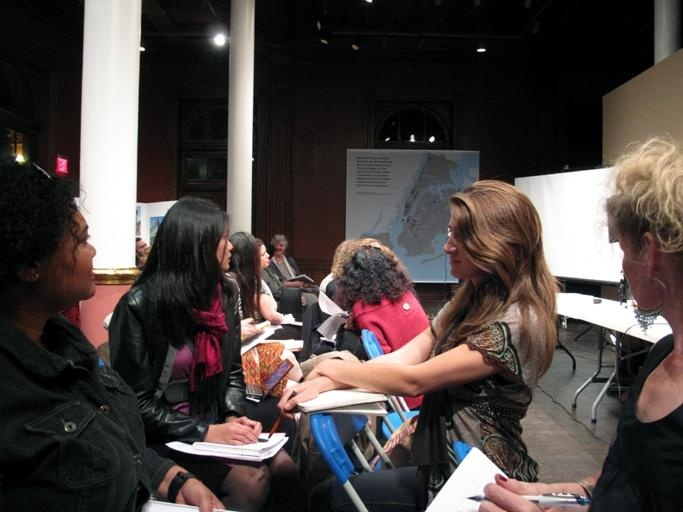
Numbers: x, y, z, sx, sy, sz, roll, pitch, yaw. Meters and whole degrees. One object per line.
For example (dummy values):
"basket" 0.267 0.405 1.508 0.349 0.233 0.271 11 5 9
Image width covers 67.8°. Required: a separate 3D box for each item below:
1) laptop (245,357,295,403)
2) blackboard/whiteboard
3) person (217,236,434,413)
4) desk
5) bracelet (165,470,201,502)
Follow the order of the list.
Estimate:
"laptop" -0.362 0.644 2.593 0.051 0.195 0.195 43 3 -9
"blackboard/whiteboard" 3.126 -0.372 6.826 1.884 1.565 0.073 -3 5 -21
"person" 0.144 0.398 3.435 1.133 1.368 0.881 -3 -2 29
"desk" 1.908 0.745 3.660 0.573 0.595 1.126 -1 6 -8
"bracelet" -0.536 0.763 1.725 0.064 0.101 0.096 23 14 37
